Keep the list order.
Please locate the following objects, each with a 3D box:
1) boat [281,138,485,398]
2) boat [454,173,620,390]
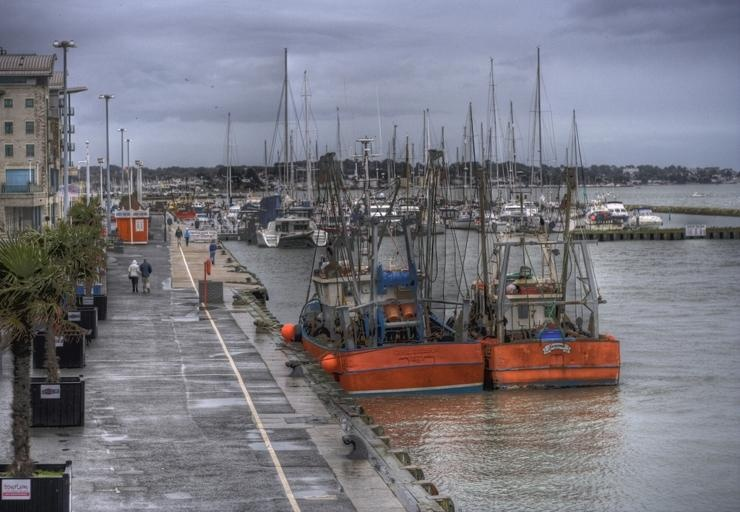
[{"bbox_3d":[3.061,-0.351,43.513,6.375,10.290,12.473,-2,3,-4],"label":"boat"},{"bbox_3d":[8.417,2.217,48.575,4.970,8.176,13.960,-1,-1,2],"label":"boat"}]
